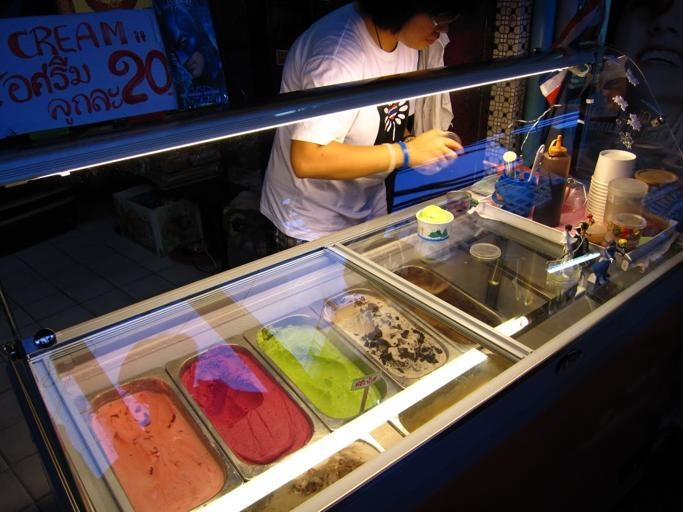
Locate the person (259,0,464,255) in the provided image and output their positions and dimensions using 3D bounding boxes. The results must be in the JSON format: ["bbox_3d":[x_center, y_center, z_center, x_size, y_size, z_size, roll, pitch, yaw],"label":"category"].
[{"bbox_3d":[0.101,-0.606,2.235,0.909,1.162,0.688,-22,39,-28],"label":"person"}]

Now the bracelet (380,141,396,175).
[{"bbox_3d":[0.235,-0.466,2.149,0.060,0.140,0.084,-5,34,-5],"label":"bracelet"}]

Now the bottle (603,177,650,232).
[{"bbox_3d":[1.240,-0.236,1.941,0.147,0.174,0.141,6,34,11],"label":"bottle"}]

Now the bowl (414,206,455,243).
[{"bbox_3d":[0.391,-0.147,1.887,0.157,0.120,0.162,-2,25,1],"label":"bowl"}]

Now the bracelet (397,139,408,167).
[{"bbox_3d":[0.296,-0.495,2.120,0.022,0.090,0.086,-1,-12,-8],"label":"bracelet"}]

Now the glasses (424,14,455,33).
[{"bbox_3d":[0.471,-1.096,2.111,0.089,0.088,0.068,-32,4,-1],"label":"glasses"}]

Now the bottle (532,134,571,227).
[{"bbox_3d":[0.935,-0.331,2.017,0.149,0.301,0.289,10,35,16],"label":"bottle"}]
